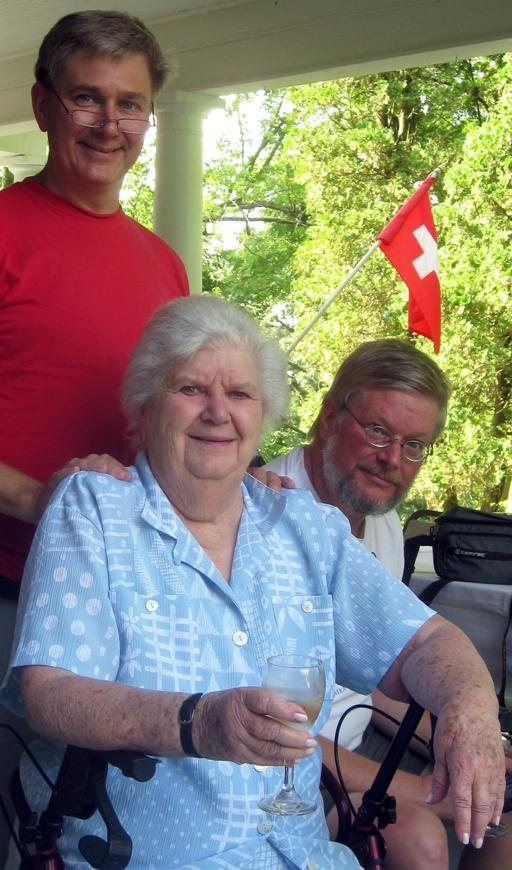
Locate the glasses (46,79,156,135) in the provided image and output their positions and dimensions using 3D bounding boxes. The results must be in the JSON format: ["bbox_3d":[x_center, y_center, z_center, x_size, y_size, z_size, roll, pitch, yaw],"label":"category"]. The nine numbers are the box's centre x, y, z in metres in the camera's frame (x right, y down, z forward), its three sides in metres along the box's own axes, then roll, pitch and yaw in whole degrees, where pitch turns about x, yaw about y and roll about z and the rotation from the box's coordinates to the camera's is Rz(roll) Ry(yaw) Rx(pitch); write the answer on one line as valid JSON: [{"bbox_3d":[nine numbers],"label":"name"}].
[{"bbox_3d":[-0.402,-0.843,1.796,0.270,0.106,0.151,-2,19,-16],"label":"glasses"}]

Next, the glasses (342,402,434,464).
[{"bbox_3d":[0.432,0.019,2.223,0.214,0.065,0.213,21,15,-31],"label":"glasses"}]
